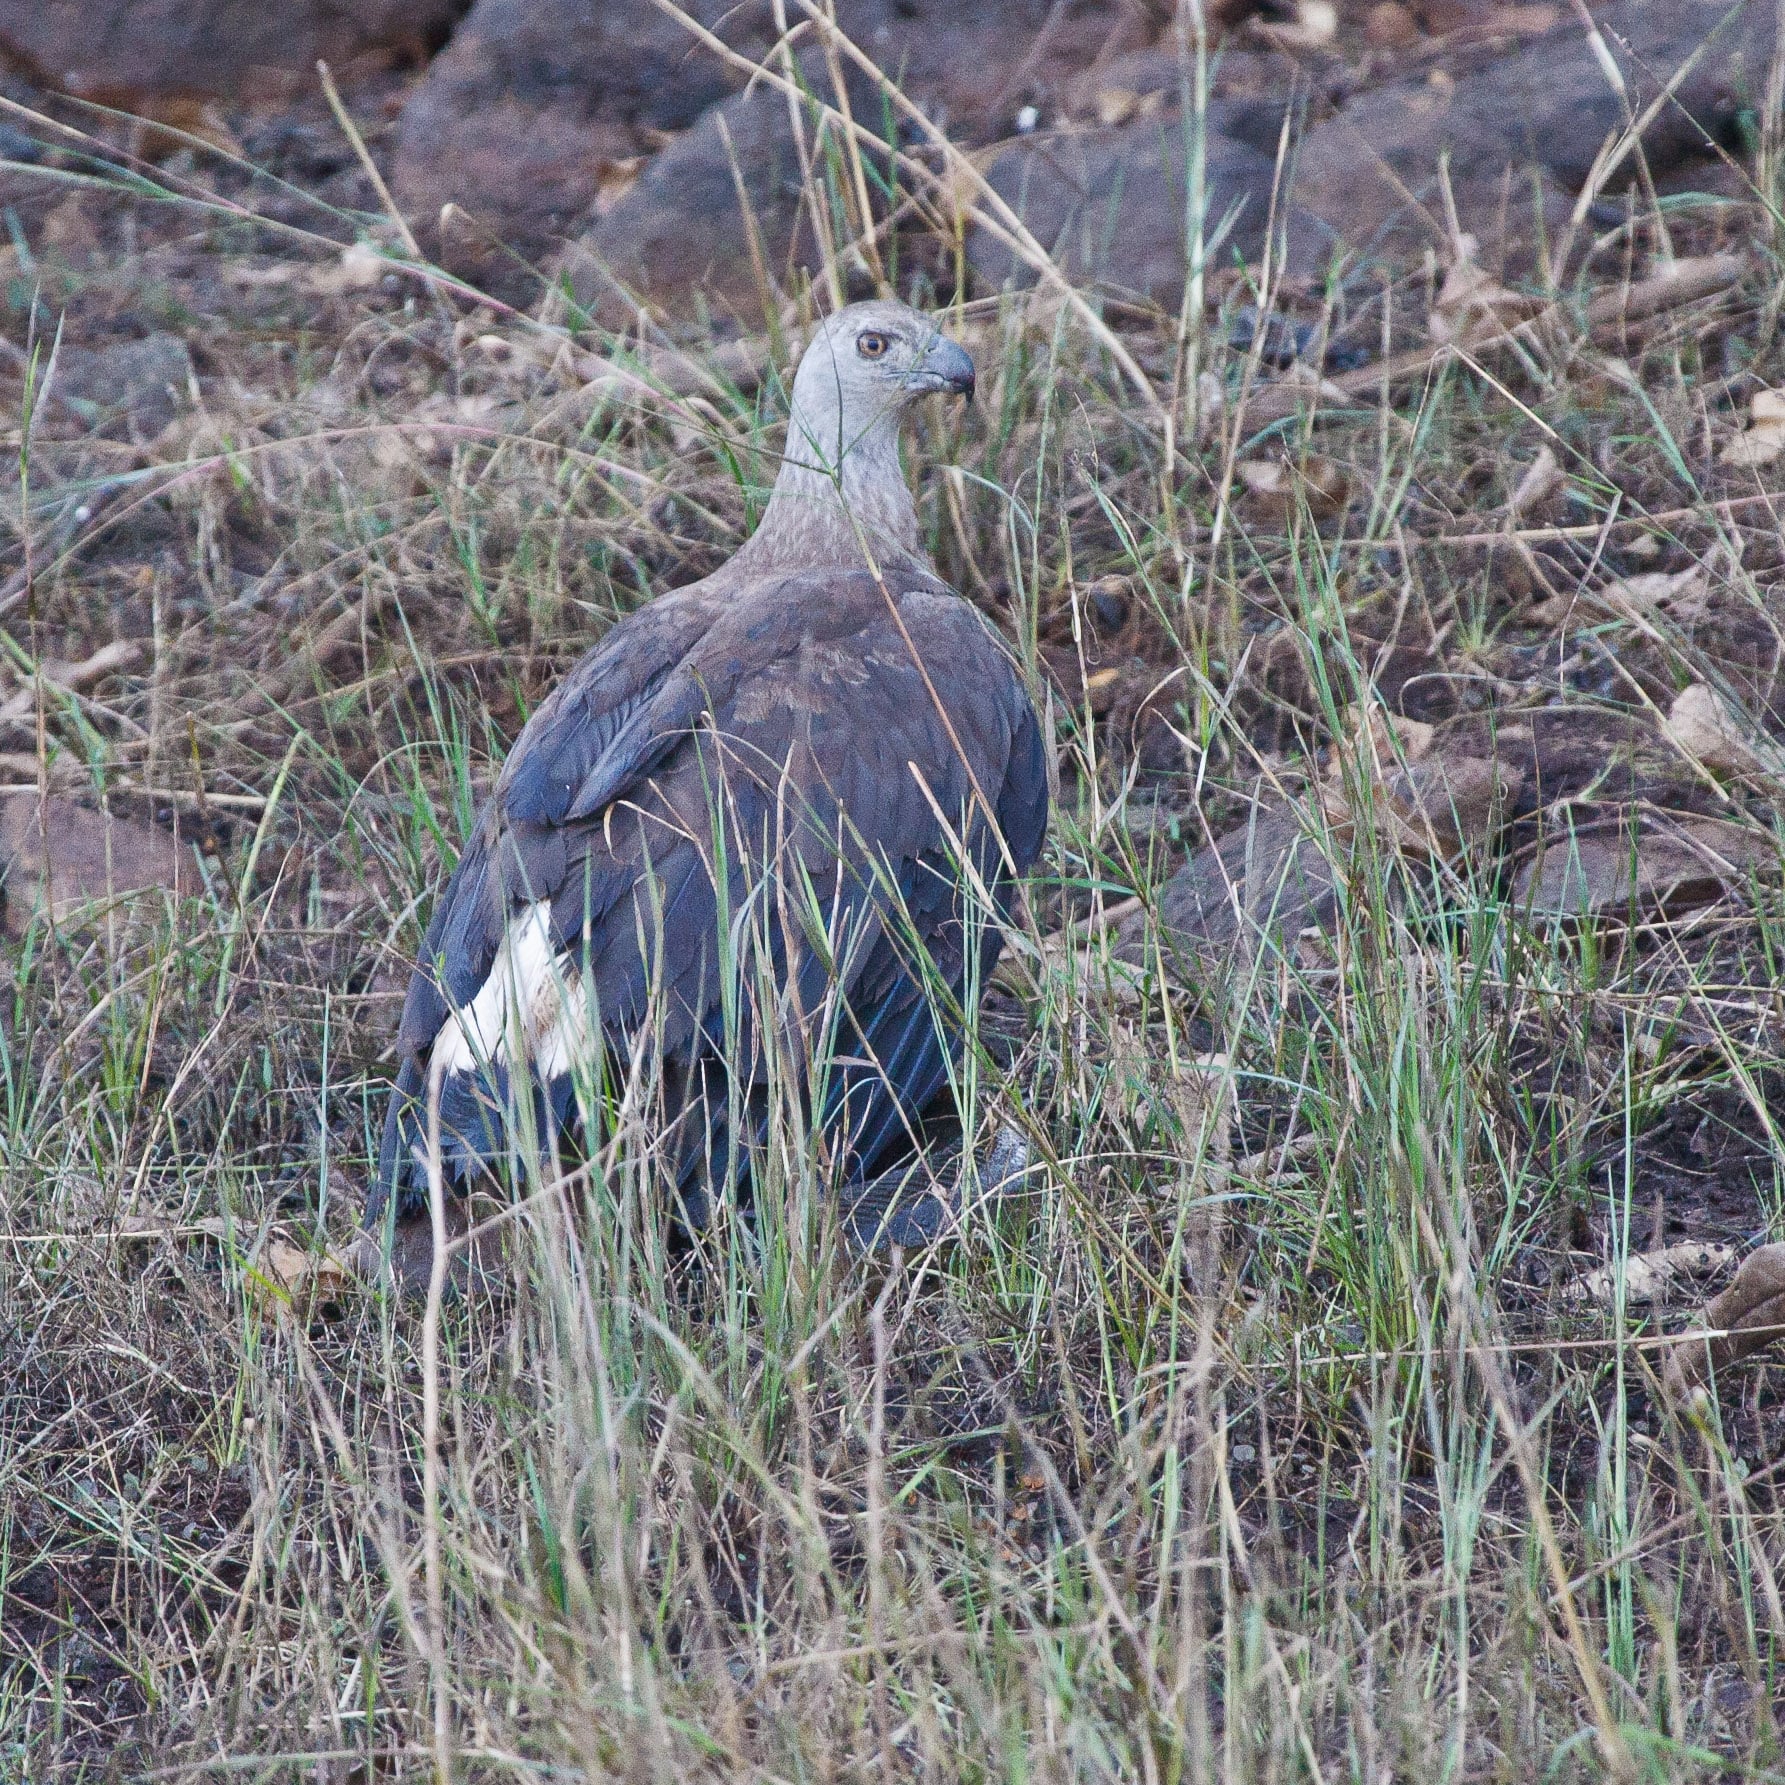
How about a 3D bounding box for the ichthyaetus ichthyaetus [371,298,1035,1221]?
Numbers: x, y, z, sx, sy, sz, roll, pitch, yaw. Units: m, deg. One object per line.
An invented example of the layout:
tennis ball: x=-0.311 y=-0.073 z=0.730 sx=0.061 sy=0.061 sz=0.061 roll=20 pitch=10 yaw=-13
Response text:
ichthyaetus ichthyaetus: x=-0.332 y=-0.167 z=4.674 sx=0.962 sy=1.356 sz=2.129 roll=-8 pitch=80 yaw=35
